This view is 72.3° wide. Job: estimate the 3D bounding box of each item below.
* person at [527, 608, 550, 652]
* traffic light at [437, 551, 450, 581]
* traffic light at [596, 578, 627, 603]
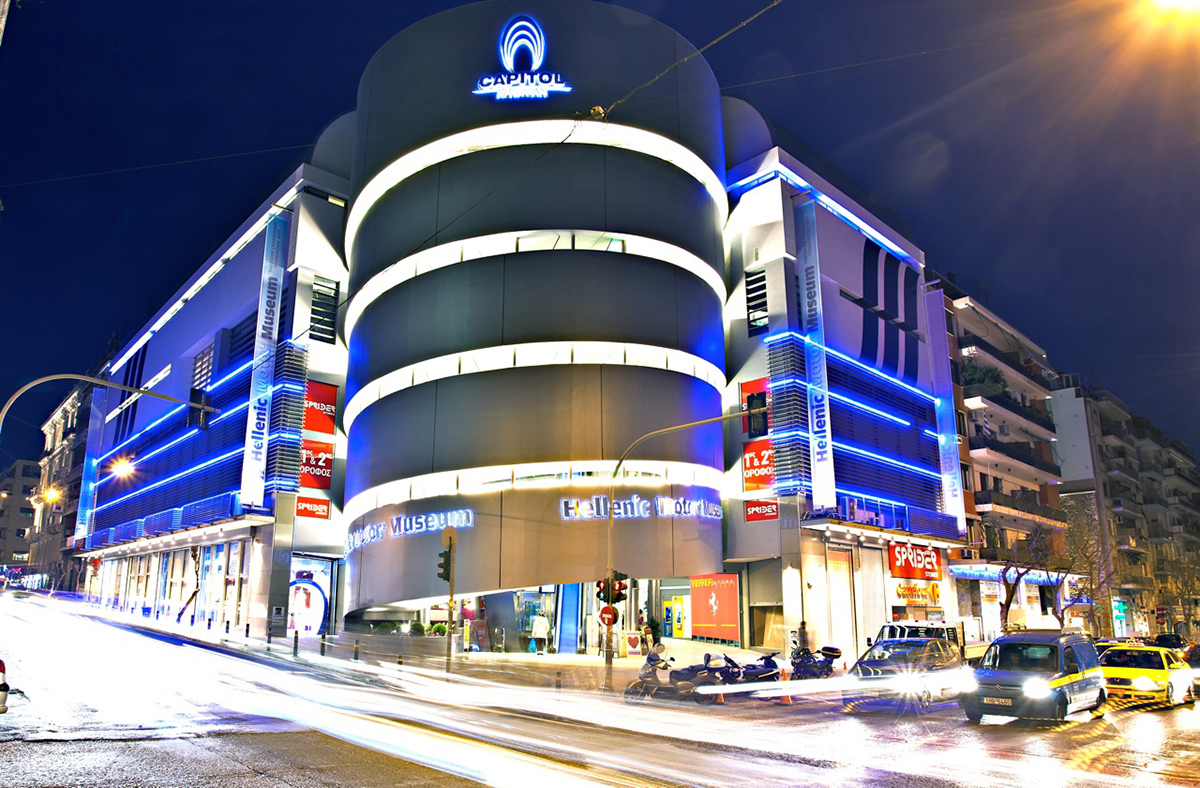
[{"bbox_3d":[-3.697,14.513,50.365,1.361,2.248,0.683,-1,-19,-3],"label":"person"},{"bbox_3d":[-6.736,7.436,36.007,0.478,1.339,1.772,2,-20,-10],"label":"traffic light"},{"bbox_3d":[0.450,8.631,36.332,1.263,0.564,1.414,-1,-3,21],"label":"traffic light"}]
